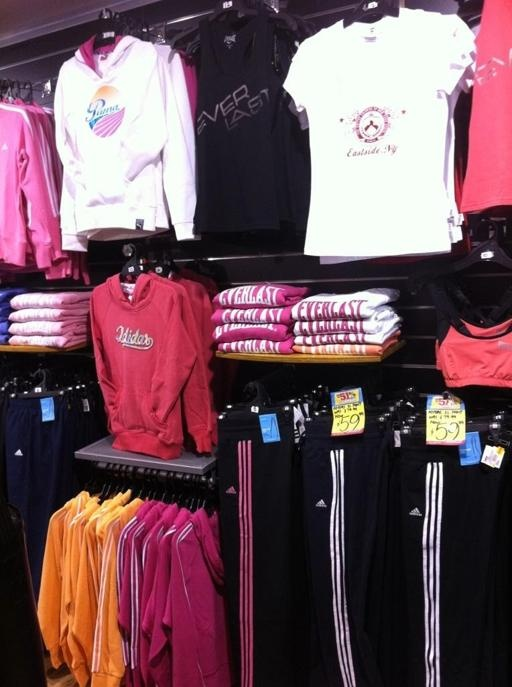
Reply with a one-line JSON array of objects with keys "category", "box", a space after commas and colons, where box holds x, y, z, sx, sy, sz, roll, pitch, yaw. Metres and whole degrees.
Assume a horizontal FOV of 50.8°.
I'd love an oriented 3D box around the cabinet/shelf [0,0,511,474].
[{"category": "cabinet/shelf", "box": [0.200, -0.288, 2.758, 1.723, 2.347, 1.299, 1, 3, 12]}]
